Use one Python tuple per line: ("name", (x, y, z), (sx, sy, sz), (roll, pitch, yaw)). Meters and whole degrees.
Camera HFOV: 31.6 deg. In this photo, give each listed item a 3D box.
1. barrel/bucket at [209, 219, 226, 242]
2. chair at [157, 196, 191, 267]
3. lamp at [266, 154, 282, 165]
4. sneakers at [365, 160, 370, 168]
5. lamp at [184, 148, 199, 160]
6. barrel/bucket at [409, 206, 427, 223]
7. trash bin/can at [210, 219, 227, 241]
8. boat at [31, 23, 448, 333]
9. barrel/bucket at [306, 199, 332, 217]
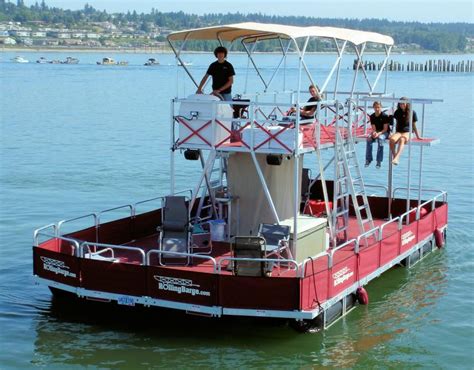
("barrel/bucket", (-0.606, 1.414, 25.627), (0.680, 0.670, 0.628), (0, 3, 0))
("chair", (-1.806, 1.304, 23.739), (0.886, 1.891, 1.017), (-2, 13, -3))
("lamp", (1.081, -0.705, 23.666), (0.429, 0.321, 0.317), (7, -1, 34))
("sneakers", (4.112, -0.645, 26.440), (0.194, 0.194, 0.550), (0, 6, 19))
("lamp", (-1.369, -0.877, 24.734), (0.462, 0.305, 0.356), (1, 19, 7))
("barrel/bucket", (6.105, 1.050, 28.284), (0.642, 0.620, 0.806), (3, 14, 15))
("trash bin/can", (-0.648, 1.413, 25.876), (0.680, 0.674, 0.620), (0, 4, 3))
("boat", (1.714, -0.696, 27.068), (8.922, 6.534, 13.990), (5, 10, 33))
("barrel/bucket", (2.729, 0.809, 27.830), (0.723, 0.302, 0.995), (0, 1, 15))
